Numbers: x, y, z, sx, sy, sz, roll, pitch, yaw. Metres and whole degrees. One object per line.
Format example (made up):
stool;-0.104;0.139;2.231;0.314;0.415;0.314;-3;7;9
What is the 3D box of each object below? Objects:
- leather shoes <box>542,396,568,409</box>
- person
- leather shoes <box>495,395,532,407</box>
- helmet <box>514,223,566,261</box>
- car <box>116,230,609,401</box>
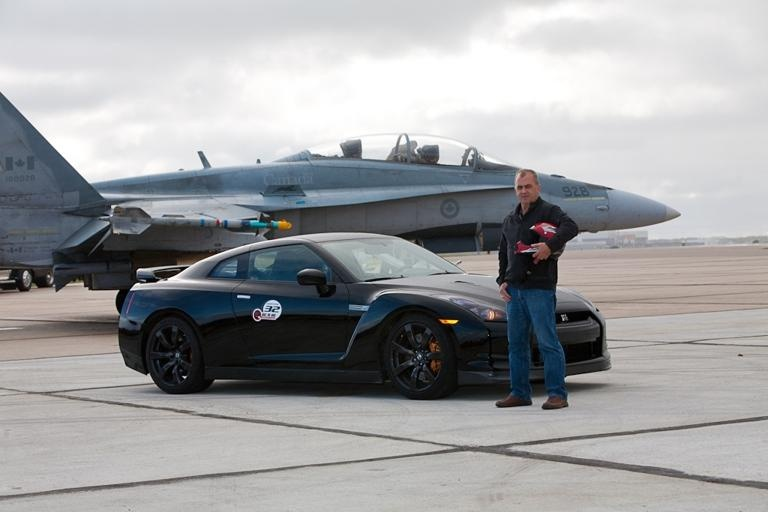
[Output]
leather shoes;1.675;1.429;7.591;0.273;0.125;0.141;1;0;-3
person;1.492;0.311;7.822;0.814;2.282;0.519;1;0;20
leather shoes;1.295;1.460;7.824;0.439;0.112;0.115;1;-6;-6
helmet;1.562;-0.139;7.843;0.577;0.273;0.347;-11;-8;-12
car;-0.119;0.413;9.806;5.904;1.291;3.057;-1;12;36
